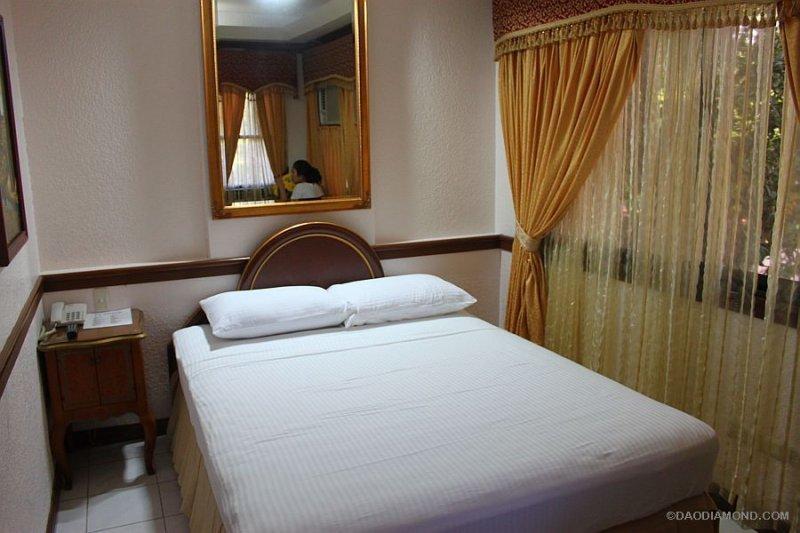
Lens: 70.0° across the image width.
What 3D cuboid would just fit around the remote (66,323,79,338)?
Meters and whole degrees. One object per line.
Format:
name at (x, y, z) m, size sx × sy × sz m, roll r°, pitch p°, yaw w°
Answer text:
remote at (-1.990, 0.376, 3.467) m, size 0.073 × 0.033 × 0.102 m, roll 3°, pitch 10°, yaw -32°

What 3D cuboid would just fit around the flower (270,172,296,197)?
flower at (-0.850, -0.588, 4.208) m, size 0.170 × 0.184 × 0.164 m, roll -9°, pitch -22°, yaw -32°

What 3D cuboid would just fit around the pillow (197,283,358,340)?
pillow at (-0.857, 0.300, 3.910) m, size 0.928 × 0.267 × 0.380 m, roll -7°, pitch 10°, yaw -19°
